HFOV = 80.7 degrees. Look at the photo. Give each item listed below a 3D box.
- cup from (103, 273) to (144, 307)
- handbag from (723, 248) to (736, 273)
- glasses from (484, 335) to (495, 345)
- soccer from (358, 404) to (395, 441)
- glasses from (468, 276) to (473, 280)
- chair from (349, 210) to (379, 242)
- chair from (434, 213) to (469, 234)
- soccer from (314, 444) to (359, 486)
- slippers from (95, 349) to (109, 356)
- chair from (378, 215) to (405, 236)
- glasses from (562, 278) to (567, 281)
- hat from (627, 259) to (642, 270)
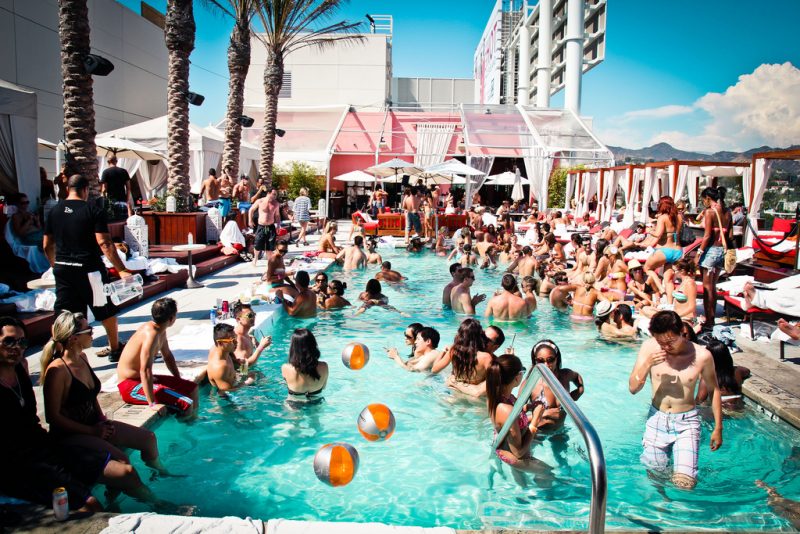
[{"bbox_3d":[-4.139,0.326,7.022,0.312,0.326,0.540,39,24,27],"label":"cup"},{"bbox_3d":[5.994,-0.119,8.609,0.251,0.428,0.127,3,-1,-22],"label":"handbag"},{"bbox_3d":[1.188,0.976,6.274,0.100,0.138,0.139,-3,-10,1],"label":"glasses"},{"bbox_3d":[-0.242,1.636,4.885,0.308,0.435,0.250,3,8,27],"label":"soccer"},{"bbox_3d":[1.469,0.221,9.623,0.072,0.074,0.022,-3,22,7],"label":"glasses"},{"bbox_3d":[-1.827,-1.834,21.128,1.524,1.732,1.405,1,9,8],"label":"chair"},{"bbox_3d":[2.455,-1.738,22.089,1.584,1.156,0.856,-1,10,-4],"label":"chair"},{"bbox_3d":[-0.586,1.832,4.348,0.395,0.404,0.186,-2,7,-13],"label":"soccer"},{"bbox_3d":[-4.194,1.202,6.666,0.110,0.062,0.175,0,2,-11],"label":"slippers"},{"bbox_3d":[-0.374,-1.969,21.640,1.033,0.762,1.046,1,6,8],"label":"chair"},{"bbox_3d":[3.871,0.299,11.027,0.068,0.098,0.100,2,-11,7],"label":"glasses"},{"bbox_3d":[5.049,-0.054,10.155,0.351,0.138,0.395,-17,-3,-1],"label":"hat"}]
